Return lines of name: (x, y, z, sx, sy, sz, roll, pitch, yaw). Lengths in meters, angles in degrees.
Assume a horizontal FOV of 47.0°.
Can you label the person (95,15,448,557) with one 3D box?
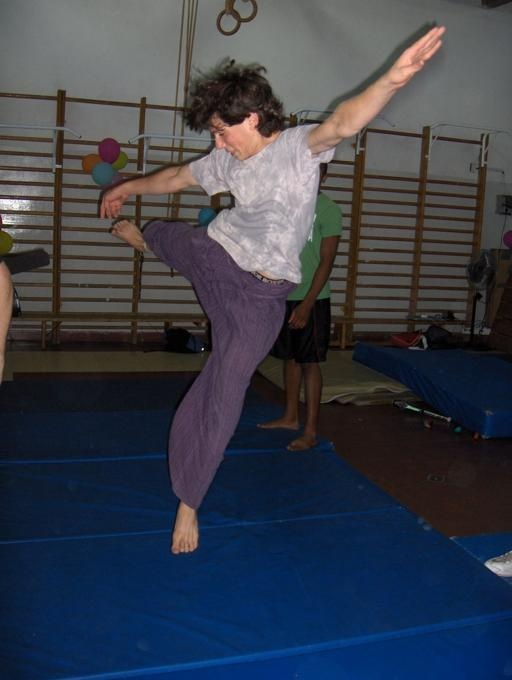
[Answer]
person: (-0.036, -0.061, 1.568, 0.835, 1.331, 0.299, 15, 11, 40)
